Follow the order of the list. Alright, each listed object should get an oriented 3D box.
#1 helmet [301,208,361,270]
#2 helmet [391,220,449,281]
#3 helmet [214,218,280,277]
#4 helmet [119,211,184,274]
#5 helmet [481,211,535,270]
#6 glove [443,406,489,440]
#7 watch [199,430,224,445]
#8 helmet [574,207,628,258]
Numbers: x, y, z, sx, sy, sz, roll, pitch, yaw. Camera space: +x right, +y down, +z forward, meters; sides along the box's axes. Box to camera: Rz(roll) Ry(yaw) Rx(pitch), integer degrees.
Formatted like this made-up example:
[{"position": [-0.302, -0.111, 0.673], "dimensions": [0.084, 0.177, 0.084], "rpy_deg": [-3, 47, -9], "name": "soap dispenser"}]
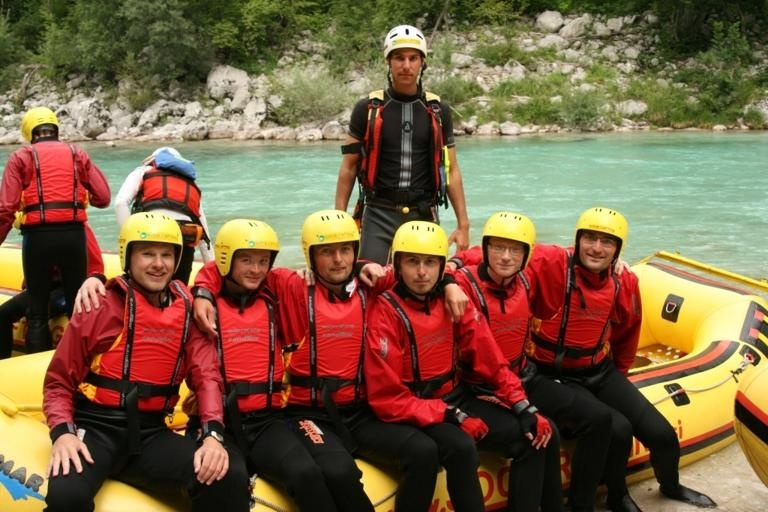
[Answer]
[{"position": [-0.402, -0.104, 4.876], "dimensions": [0.380, 0.353, 0.466], "rpy_deg": [-8, 12, -31], "name": "helmet"}, {"position": [0.250, 0.011, 4.831], "dimensions": [0.401, 0.424, 0.461], "rpy_deg": [6, -1, -10], "name": "helmet"}, {"position": [-0.962, -0.048, 4.794], "dimensions": [0.506, 0.368, 0.392], "rpy_deg": [-1, 0, 39], "name": "helmet"}, {"position": [-1.564, -0.079, 4.568], "dimensions": [0.453, 0.379, 0.426], "rpy_deg": [3, -4, 3], "name": "helmet"}, {"position": [0.963, -0.171, 5.154], "dimensions": [0.357, 0.380, 0.419], "rpy_deg": [9, -15, 7], "name": "helmet"}, {"position": [0.495, 1.128, 4.694], "dimensions": [0.234, 0.162, 0.381], "rpy_deg": [3, 13, -19], "name": "glove"}, {"position": [-1.038, 1.096, 4.206], "dimensions": [0.114, 0.069, 0.105], "rpy_deg": [1, -35, -29], "name": "watch"}, {"position": [1.662, -0.241, 5.385], "dimensions": [0.350, 0.379, 0.416], "rpy_deg": [14, -11, 12], "name": "helmet"}]
